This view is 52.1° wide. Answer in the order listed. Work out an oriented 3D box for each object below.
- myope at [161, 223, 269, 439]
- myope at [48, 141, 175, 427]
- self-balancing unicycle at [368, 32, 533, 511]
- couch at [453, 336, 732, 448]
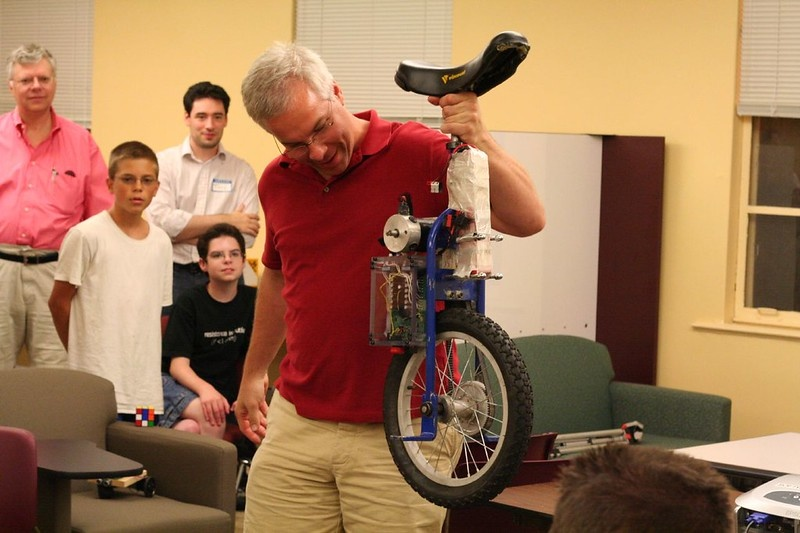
[{"bbox_3d":[-1.071,0.537,4.630,0.591,1.568,0.882,5,3,-1],"label":"myope"},{"bbox_3d":[-1.451,0.113,4.180,0.521,1.602,0.469,1,0,-14],"label":"myope"},{"bbox_3d":[0.163,0.022,2.409,0.459,1.445,0.463,4,16,18],"label":"self-balancing unicycle"},{"bbox_3d":[1.269,0.796,4.872,0.779,0.937,0.894,-2,-2,-39],"label":"couch"}]
